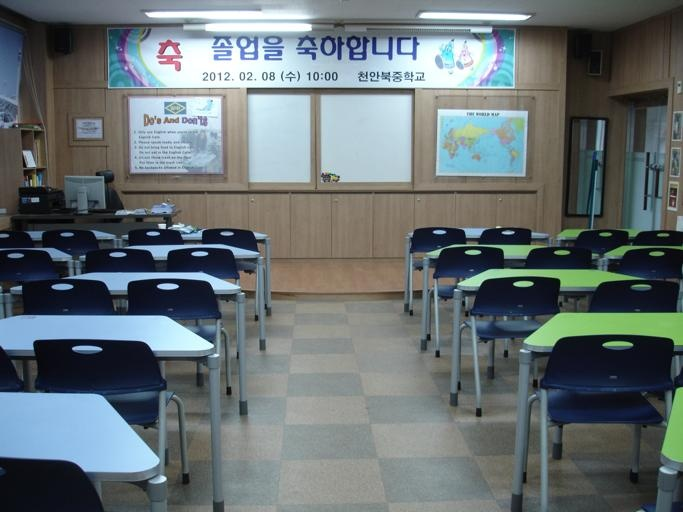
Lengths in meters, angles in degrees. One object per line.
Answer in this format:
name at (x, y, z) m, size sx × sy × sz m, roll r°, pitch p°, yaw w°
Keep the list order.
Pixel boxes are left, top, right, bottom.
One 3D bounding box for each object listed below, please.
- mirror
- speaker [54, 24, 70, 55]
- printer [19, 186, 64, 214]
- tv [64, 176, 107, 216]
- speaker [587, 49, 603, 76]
mirror at (4.232, -1.513, 9.959) m, size 0.679 × 1.690 × 0.148 m, roll -2°, pitch 12°, yaw -2°
speaker at (-4.259, -3.290, 8.821) m, size 0.305 × 0.423 × 0.223 m, roll -4°, pitch 11°, yaw -13°
printer at (-3.819, -0.710, 7.387) m, size 0.496 × 0.263 × 0.513 m, roll 2°, pitch 4°, yaw 37°
tv at (-3.233, -0.751, 7.304) m, size 0.650 × 0.471 × 0.203 m, roll 1°, pitch 12°, yaw -6°
speaker at (4.270, -3.215, 9.693) m, size 0.293 × 0.426 × 0.101 m, roll -4°, pitch 12°, yaw -15°
